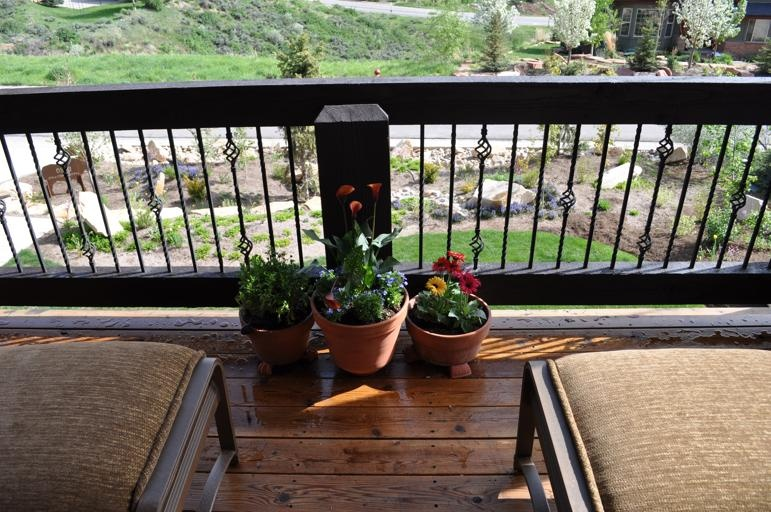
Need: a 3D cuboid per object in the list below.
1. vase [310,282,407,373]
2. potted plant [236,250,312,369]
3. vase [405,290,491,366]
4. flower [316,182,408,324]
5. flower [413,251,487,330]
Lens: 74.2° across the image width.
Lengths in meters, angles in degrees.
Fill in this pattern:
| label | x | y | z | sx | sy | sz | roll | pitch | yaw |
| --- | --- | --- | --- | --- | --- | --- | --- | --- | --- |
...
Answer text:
| label | x | y | z | sx | sy | sz | roll | pitch | yaw |
| --- | --- | --- | --- | --- | --- | --- | --- | --- | --- |
| vase | -0.150 | 0.397 | 2.332 | 0.420 | 0.262 | 0.380 | 2 | 5 | 23 |
| potted plant | -0.496 | 0.245 | 2.328 | 0.338 | 0.543 | 0.336 | -5 | 31 | -10 |
| vase | 0.253 | 0.365 | 2.347 | 0.371 | 0.162 | 0.366 | 27 | 45 | 34 |
| flower | -0.119 | -0.026 | 2.184 | 0.423 | 0.584 | 0.521 | -3 | 30 | -8 |
| flower | 0.298 | 0.138 | 2.283 | 0.384 | 0.270 | 0.307 | 11 | 25 | 26 |
